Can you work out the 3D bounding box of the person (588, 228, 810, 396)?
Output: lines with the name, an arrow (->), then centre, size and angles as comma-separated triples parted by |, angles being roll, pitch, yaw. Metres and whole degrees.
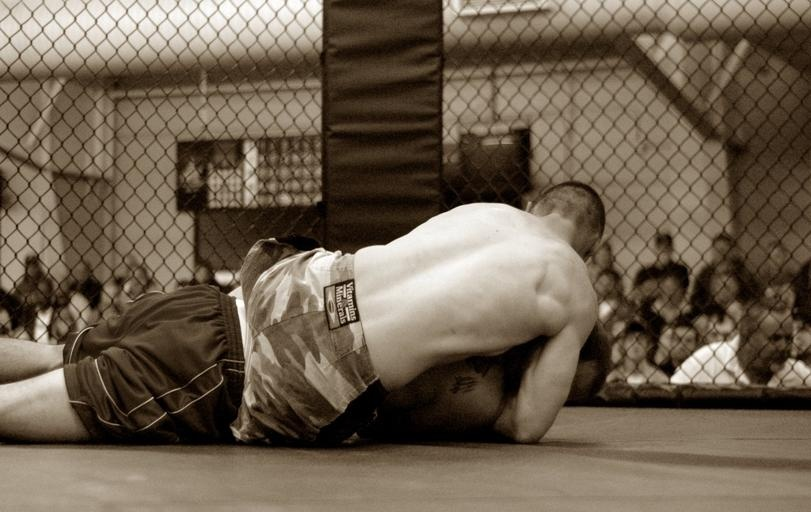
person -> 2.083, 0.427, 7.077 | 1.072, 0.659, 1.097 | -1, -8, 16
